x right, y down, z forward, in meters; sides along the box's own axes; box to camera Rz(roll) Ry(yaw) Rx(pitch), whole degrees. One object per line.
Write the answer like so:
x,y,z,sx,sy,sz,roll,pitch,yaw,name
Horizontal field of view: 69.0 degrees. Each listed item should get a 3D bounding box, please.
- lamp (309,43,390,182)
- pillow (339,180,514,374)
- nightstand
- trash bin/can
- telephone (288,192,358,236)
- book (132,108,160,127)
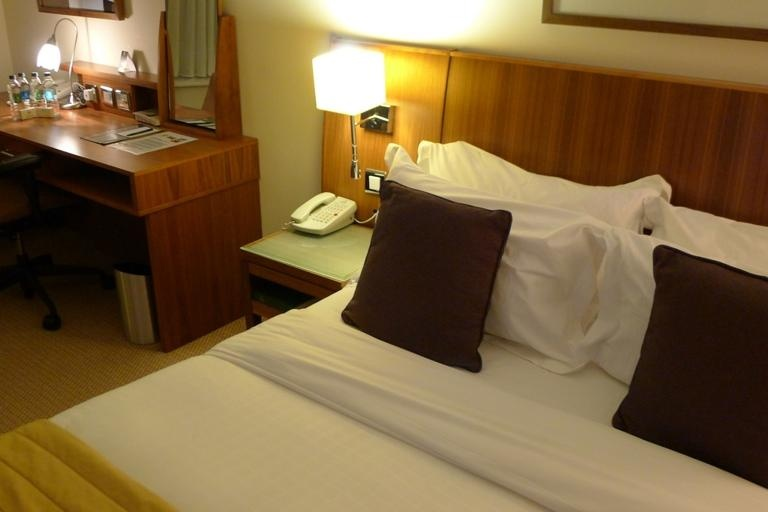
-0.163,-0.703,2.723,0.268,0.598,0.294,15,26,28,lamp
0.198,0.113,2.108,0.651,0.614,0.197,20,0,33,pillow
-0.393,0.219,2.793,0.481,0.435,0.382,16,17,22,nightstand
-1.310,0.200,3.083,0.232,0.430,0.299,11,22,18,trash bin/can
-0.312,-0.222,2.922,0.294,0.127,0.340,6,25,23,telephone
-1.400,-0.823,3.324,0.134,0.041,0.135,32,44,33,book
